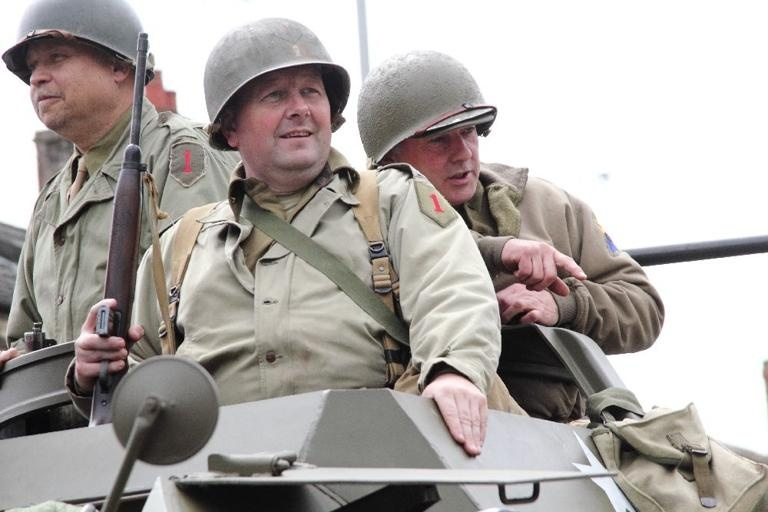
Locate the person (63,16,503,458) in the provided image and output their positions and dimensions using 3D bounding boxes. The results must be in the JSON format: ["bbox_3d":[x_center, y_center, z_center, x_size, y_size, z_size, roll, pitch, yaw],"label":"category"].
[{"bbox_3d":[-0.438,0.017,5.593,1.338,1.742,1.144,-12,-35,10],"label":"person"}]
